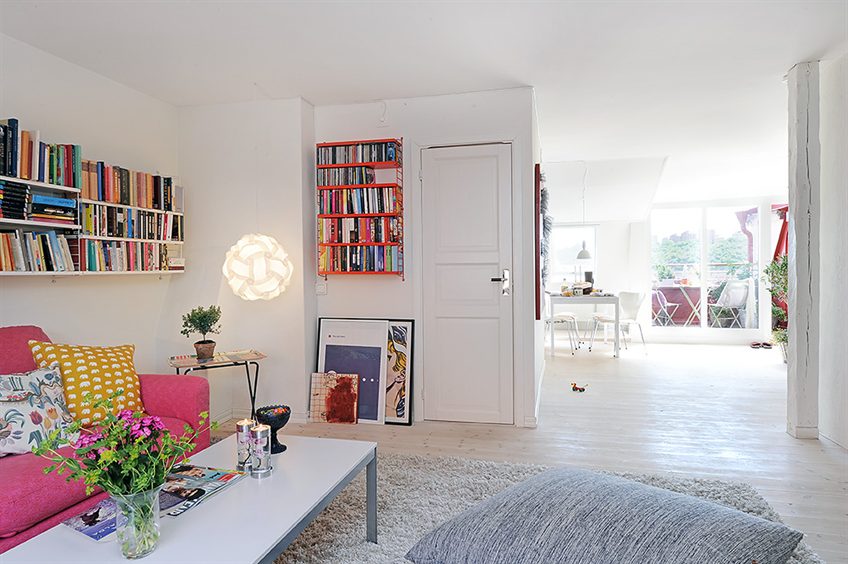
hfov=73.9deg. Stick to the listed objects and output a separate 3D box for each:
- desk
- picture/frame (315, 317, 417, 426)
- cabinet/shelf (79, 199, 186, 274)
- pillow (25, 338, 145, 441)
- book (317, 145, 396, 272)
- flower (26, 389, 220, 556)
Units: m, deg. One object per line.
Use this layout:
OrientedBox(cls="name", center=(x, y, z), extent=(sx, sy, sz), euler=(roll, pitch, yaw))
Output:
OrientedBox(cls="desk", center=(-1.754, 0.915, 4.787), extent=(0.718, 0.676, 0.403), euler=(-1, 6, -23))
OrientedBox(cls="picture/frame", center=(-0.569, 0.884, 5.474), extent=(1.060, 1.009, 0.020), euler=(-2, -6, 21))
OrientedBox(cls="cabinet/shelf", center=(-2.458, -0.388, 4.916), extent=(1.194, 0.570, 0.201), euler=(5, 8, 21))
OrientedBox(cls="pillow", center=(-2.328, 0.719, 3.916), extent=(0.348, 0.585, 0.699), euler=(-1, -7, 41))
OrientedBox(cls="book", center=(-0.616, -0.709, 5.416), extent=(0.821, 1.258, 0.210), euler=(-2, -1, 12))
OrientedBox(cls="flower", center=(-1.622, 0.901, 3.124), extent=(0.869, 0.790, 0.900), euler=(1, 5, -8))
